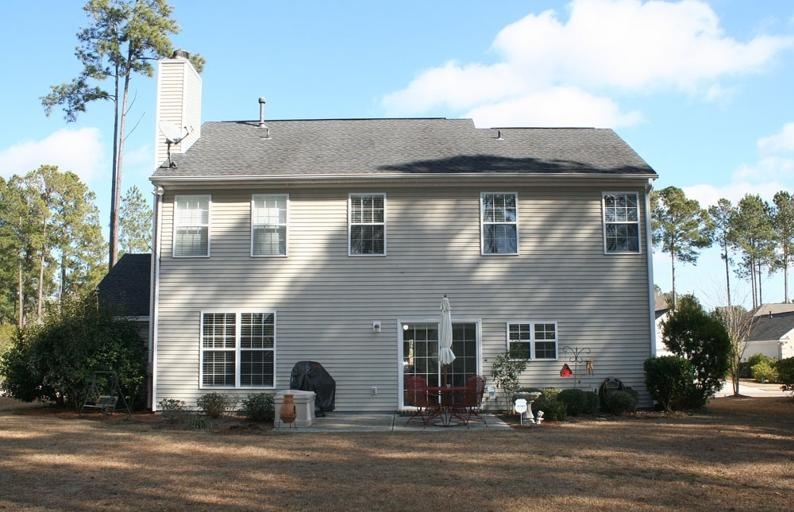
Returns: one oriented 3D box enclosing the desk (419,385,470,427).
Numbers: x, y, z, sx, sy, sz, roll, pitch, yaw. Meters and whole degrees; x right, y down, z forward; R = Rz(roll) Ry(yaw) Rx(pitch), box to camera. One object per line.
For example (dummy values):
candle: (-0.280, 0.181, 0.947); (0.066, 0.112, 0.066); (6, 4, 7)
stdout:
desk: (2.167, 6.923, 45.863); (1.821, 1.249, 1.839); (5, -10, -27)

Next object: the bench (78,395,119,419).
bench: (-14.052, 7.125, 47.203); (1.602, 1.075, 1.019); (-5, -14, 26)

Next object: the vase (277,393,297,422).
vase: (-4.944, 6.924, 44.934); (0.749, 1.319, 0.418); (3, -9, -10)

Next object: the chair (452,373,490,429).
chair: (3.642, 6.691, 45.871); (1.867, 2.736, 1.963); (-5, -13, 28)

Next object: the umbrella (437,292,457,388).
umbrella: (2.387, 3.962, 46.938); (0.888, 4.393, 2.138); (1, -9, 3)

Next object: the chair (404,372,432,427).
chair: (0.818, 6.673, 46.009); (1.734, 2.494, 1.854); (-2, -6, 37)
